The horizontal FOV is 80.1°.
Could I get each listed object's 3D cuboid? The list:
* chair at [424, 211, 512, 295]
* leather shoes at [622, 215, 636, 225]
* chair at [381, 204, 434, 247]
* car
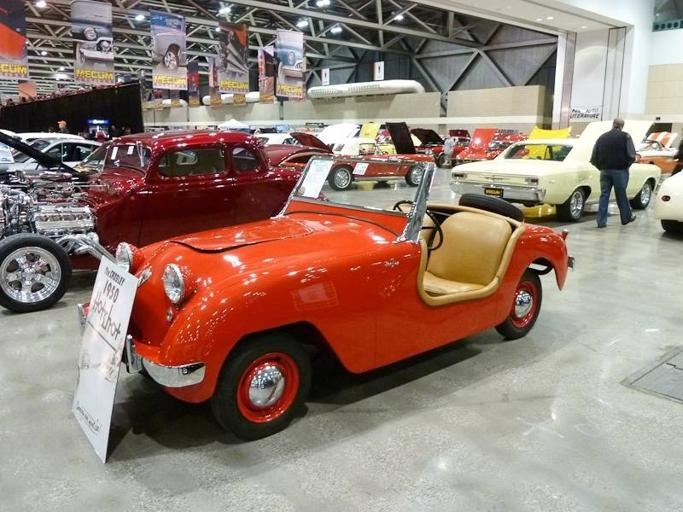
[{"bbox_3d":[0.974,0.013,3.456,0.735,0.673,0.656,11,36,26],"label":"chair"},{"bbox_3d":[5.698,-0.713,8.159,0.265,0.103,0.083,-30,53,0],"label":"leather shoes"},{"bbox_3d":[0.536,-0.275,3.132,0.297,0.205,0.393,-2,6,-20],"label":"chair"},{"bbox_3d":[-0.096,0.066,3.094,3.596,1.175,1.728,-5,9,-30],"label":"car"}]
